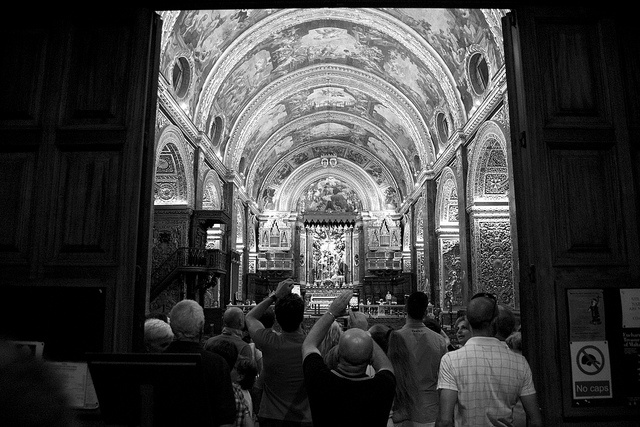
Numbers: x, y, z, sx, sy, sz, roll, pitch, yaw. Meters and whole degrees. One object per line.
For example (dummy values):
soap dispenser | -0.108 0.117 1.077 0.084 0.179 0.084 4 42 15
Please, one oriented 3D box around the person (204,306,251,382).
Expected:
person | -1.000 1.520 6.211 0.758 0.819 0.472 1 -4 9
